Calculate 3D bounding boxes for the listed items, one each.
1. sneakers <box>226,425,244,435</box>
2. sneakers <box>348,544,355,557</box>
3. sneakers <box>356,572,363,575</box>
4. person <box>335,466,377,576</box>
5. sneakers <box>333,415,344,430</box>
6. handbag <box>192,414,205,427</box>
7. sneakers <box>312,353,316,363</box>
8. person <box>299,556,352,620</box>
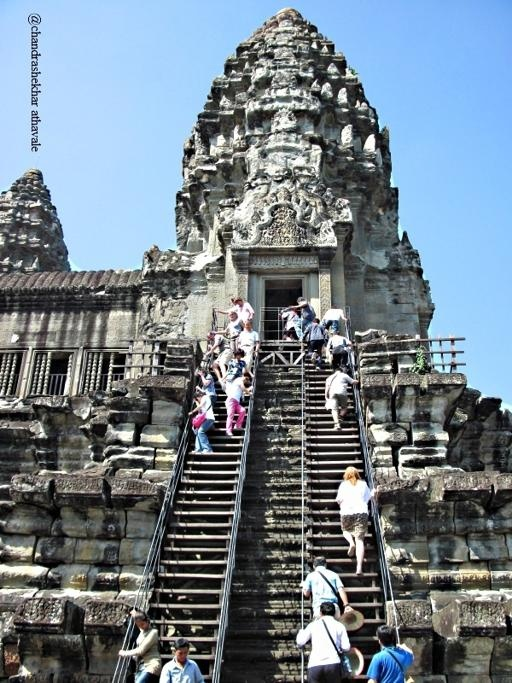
[{"bbox_3d":[-0.328,1.263,9.006,0.101,0.126,0.312,14,-20,-3],"label":"sneakers"},{"bbox_3d":[0.983,2.168,6.633,0.071,0.185,0.083,2,22,-1],"label":"sneakers"},{"bbox_3d":[1.011,2.295,6.345,0.073,0.039,0.221,1,-20,8],"label":"sneakers"},{"bbox_3d":[1.001,1.833,6.639,0.362,1.103,0.508,0,-22,13],"label":"person"},{"bbox_3d":[1.140,1.154,9.044,0.135,0.229,0.323,2,-20,8],"label":"sneakers"},{"bbox_3d":[-0.788,1.075,8.678,0.079,0.187,0.148,37,-49,-23],"label":"handbag"},{"bbox_3d":[0.979,0.277,11.089,0.050,0.112,0.087,1,-4,19],"label":"sneakers"},{"bbox_3d":[0.575,2.216,5.499,0.469,0.734,0.253,-2,3,16],"label":"person"}]
